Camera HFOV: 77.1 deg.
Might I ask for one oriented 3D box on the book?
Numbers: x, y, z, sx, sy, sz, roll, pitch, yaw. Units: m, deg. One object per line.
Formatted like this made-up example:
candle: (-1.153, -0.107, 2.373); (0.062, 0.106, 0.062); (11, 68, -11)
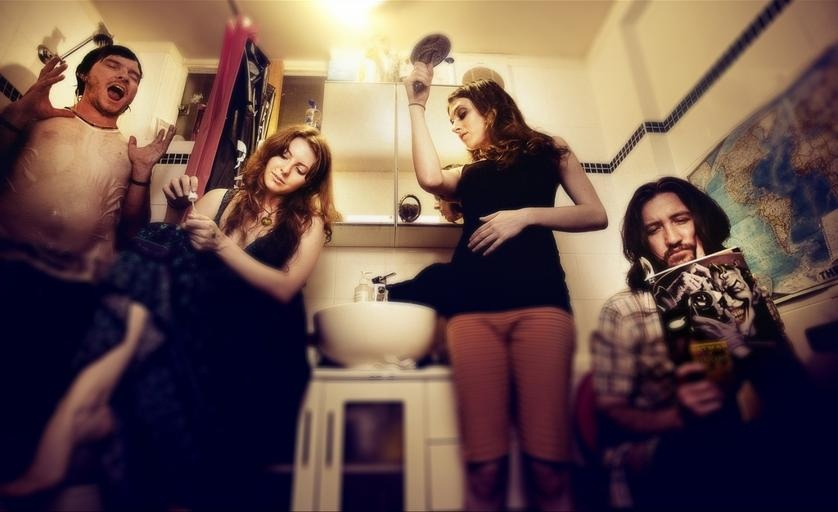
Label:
book: (1.403, 0.265, 2.481); (0.514, 0.599, 0.173); (-14, -11, 21)

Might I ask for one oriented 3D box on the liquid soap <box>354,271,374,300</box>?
liquid soap: (-0.270, 0.150, 2.640); (0.101, 0.173, 0.278); (2, -12, -7)

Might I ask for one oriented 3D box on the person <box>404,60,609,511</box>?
person: (0.402, 0.072, 2.406); (0.940, 2.012, 0.234); (1, -14, -2)

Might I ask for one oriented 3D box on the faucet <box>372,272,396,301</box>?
faucet: (-0.179, 0.150, 2.694); (0.115, 0.155, 0.171); (1, -12, -1)
